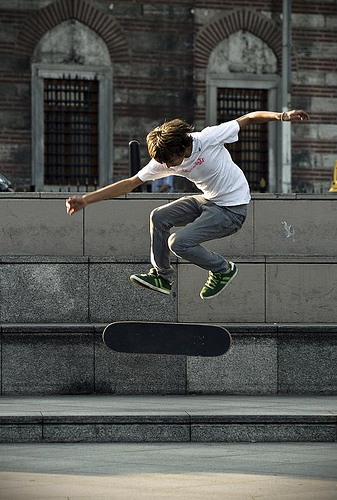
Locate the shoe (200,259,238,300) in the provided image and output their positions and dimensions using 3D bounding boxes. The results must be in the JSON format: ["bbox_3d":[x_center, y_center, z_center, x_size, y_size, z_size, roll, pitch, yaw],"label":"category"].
[{"bbox_3d":[0.469,0.298,11.779,0.284,0.383,0.329,0,8,-7],"label":"shoe"}]

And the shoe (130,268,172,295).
[{"bbox_3d":[-0.146,0.310,11.632,0.324,0.263,0.291,1,6,-14],"label":"shoe"}]
